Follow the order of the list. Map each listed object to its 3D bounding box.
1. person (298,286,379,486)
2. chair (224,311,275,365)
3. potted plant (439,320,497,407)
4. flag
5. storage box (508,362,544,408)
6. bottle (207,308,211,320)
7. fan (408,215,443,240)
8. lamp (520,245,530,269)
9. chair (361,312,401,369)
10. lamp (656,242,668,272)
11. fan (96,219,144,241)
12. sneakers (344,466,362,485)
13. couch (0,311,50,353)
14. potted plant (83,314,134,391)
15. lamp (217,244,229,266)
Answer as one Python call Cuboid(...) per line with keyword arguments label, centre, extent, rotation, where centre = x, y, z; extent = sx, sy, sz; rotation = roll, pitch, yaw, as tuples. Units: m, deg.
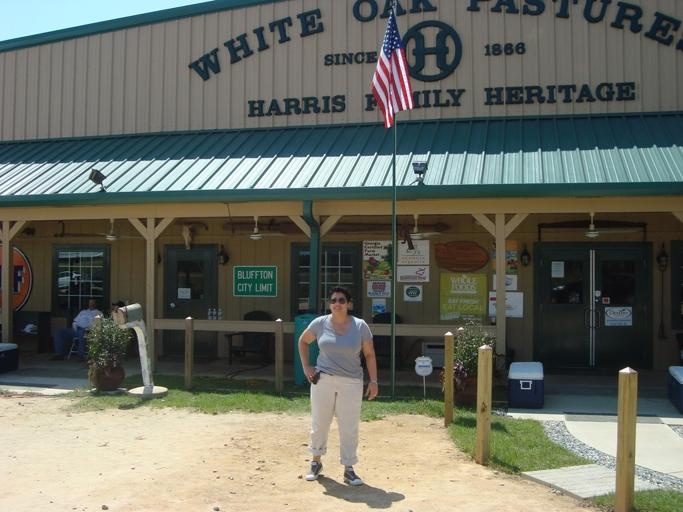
Cuboid(label="person", centre=(-0.049, 1.730, 10.629), extent=(1.017, 2.597, 0.437), rotation=(-1, 6, -4))
Cuboid(label="chair", centre=(-2.100, 1.861, 17.802), extent=(0.895, 1.531, 1.133), rotation=(-2, -8, 16))
Cuboid(label="potted plant", centre=(2.263, 1.898, 13.828), extent=(0.652, 1.396, 1.851), rotation=(2, 8, 16))
Cuboid(label="flag", centre=(0.908, -3.437, 14.083), extent=(0.761, 2.193, 0.545), rotation=(2, 6, 18))
Cuboid(label="storage box", centre=(3.270, 2.314, 13.828), extent=(0.443, 0.505, 0.776), rotation=(0, -4, 12))
Cuboid(label="bottle", centre=(-3.162, 1.362, 18.499), extent=(0.070, 0.223, 0.159), rotation=(-3, 7, -23))
Cuboid(label="fan", centre=(1.801, -0.582, 16.768), extent=(0.676, 0.638, 1.443), rotation=(1, 8, 6))
Cuboid(label="lamp", centre=(4.027, -0.019, 17.038), extent=(0.231, 0.488, 0.136), rotation=(1, 6, 10))
Cuboid(label="chair", centre=(0.937, 1.884, 17.522), extent=(0.788, 1.635, 0.982), rotation=(-1, -5, 7))
Cuboid(label="lamp", centre=(6.847, 0.037, 16.576), extent=(0.262, 0.590, 0.111), rotation=(2, 6, 18))
Cuboid(label="fan", centre=(-5.298, -0.605, 18.543), extent=(1.002, 0.651, 1.520), rotation=(-4, 9, -25))
Cuboid(label="sneakers", centre=(0.144, 2.984, 10.570), extent=(0.125, 0.169, 0.327), rotation=(2, -2, -27))
Cuboid(label="couch", centre=(-7.460, 1.755, 18.250), extent=(0.919, 1.013, 0.395), rotation=(-1, -4, 3))
Cuboid(label="potted plant", centre=(-4.405, 1.841, 14.503), extent=(0.776, 1.427, 0.749), rotation=(-1, 7, -9))
Cuboid(label="lamp", centre=(-2.827, -0.017, 18.409), extent=(0.272, 0.500, 0.144), rotation=(2, 6, 15))
